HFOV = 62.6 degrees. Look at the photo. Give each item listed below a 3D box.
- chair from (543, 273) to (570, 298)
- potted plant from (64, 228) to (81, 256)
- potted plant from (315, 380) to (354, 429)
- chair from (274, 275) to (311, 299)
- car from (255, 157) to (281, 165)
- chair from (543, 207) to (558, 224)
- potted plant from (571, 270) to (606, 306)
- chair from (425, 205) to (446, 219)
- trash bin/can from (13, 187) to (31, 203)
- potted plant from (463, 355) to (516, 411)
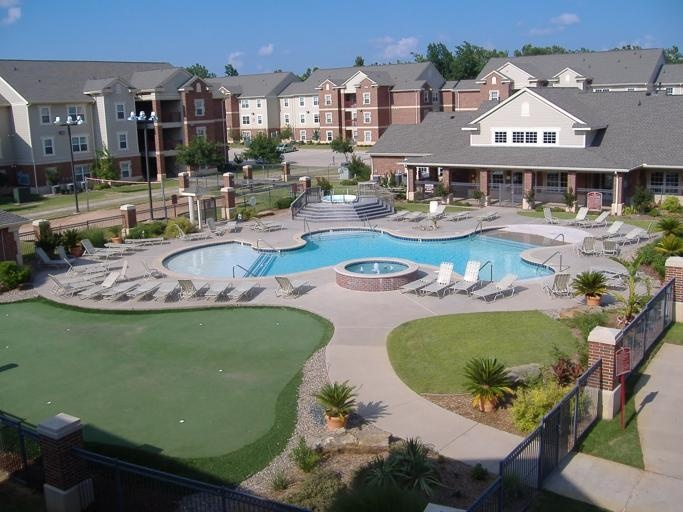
[{"bbox_3d":[9.757,1.250,25.636,1.140,1.153,1.368,-1,11,16],"label":"chair"},{"bbox_3d":[-16.627,-0.778,34.949,1.071,1.561,0.765,-15,15,-43],"label":"potted plant"},{"bbox_3d":[-0.190,4.398,16.196,1.202,1.174,1.261,-4,-1,41],"label":"potted plant"},{"bbox_3d":[-2.482,1.397,27.515,0.938,0.826,1.715,5,14,21],"label":"chair"},{"bbox_3d":[-9.870,-12.770,75.756,3.522,0.942,8.933,-5,10,-8],"label":"car"},{"bbox_3d":[14.691,-2.821,39.867,0.856,1.011,0.923,-1,11,15],"label":"chair"},{"bbox_3d":[10.836,1.424,24.599,1.648,1.414,1.525,-3,3,-10],"label":"potted plant"},{"bbox_3d":[7.155,-3.274,42.519,0.811,0.594,1.768,9,20,31],"label":"chair"},{"bbox_3d":[-31.595,-6.002,55.437,1.732,1.614,1.641,-1,4,15],"label":"trash bin/can"},{"bbox_3d":[4.280,3.824,16.658,1.403,1.432,1.590,-6,-8,43],"label":"potted plant"}]
